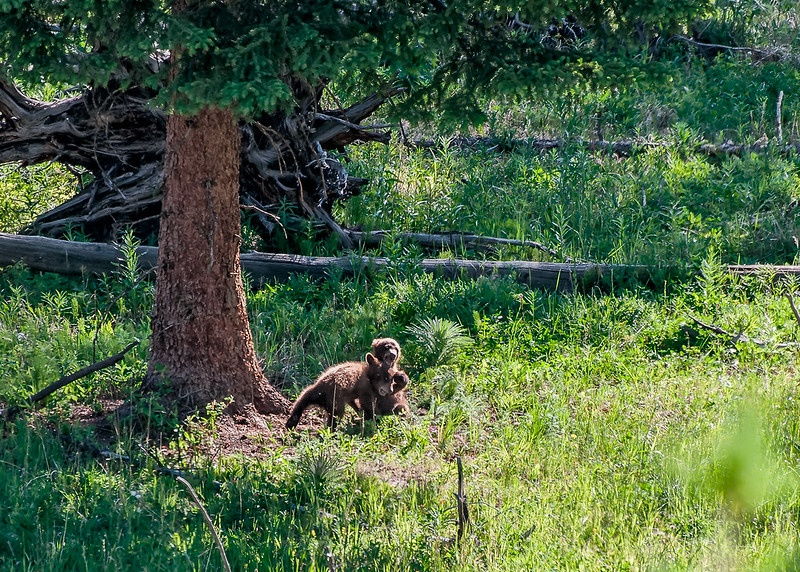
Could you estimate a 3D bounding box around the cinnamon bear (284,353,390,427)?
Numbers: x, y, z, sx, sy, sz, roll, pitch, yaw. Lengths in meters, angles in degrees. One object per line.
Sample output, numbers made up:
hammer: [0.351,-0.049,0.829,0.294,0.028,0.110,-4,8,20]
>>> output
cinnamon bear: [-0.653,1.097,13.544,1.191,0.712,0.359,-11,19,-17]
